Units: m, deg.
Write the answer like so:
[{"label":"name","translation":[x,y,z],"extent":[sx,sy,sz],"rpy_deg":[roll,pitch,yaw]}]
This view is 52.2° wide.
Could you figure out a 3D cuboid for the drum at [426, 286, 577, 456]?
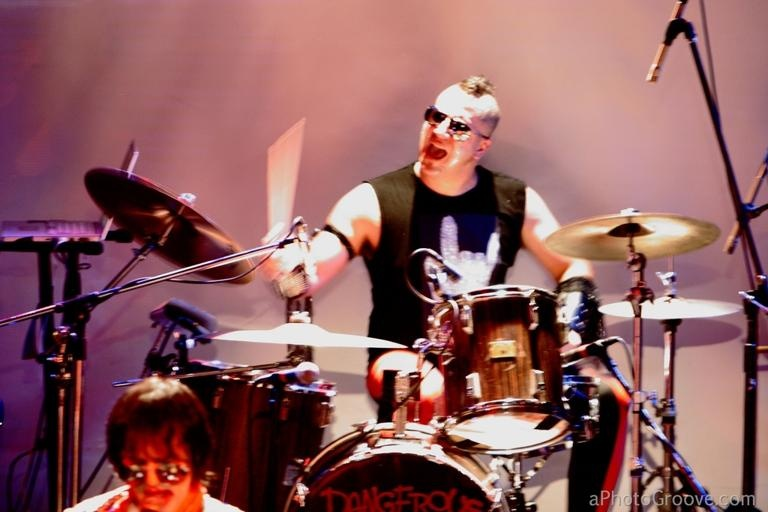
[{"label":"drum","translation":[0.567,0.572,3.579],"extent":[0.640,0.619,0.649],"rpy_deg":[-20,-44,22]}]

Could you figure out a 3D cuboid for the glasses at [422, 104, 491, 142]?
[{"label":"glasses","translation":[0.386,-0.691,4.149],"extent":[0.339,0.174,0.076],"rpy_deg":[1,-9,-1]}]

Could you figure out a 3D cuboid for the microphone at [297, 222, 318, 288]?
[{"label":"microphone","translation":[-0.382,-0.008,3.576],"extent":[0.077,0.312,0.093],"rpy_deg":[-3,13,18]}]

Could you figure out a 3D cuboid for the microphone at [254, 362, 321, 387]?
[{"label":"microphone","translation":[-0.468,0.537,3.601],"extent":[0.346,0.092,0.099],"rpy_deg":[-17,-30,26]}]

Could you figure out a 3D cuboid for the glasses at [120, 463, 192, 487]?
[{"label":"glasses","translation":[-0.817,0.782,2.821],"extent":[0.227,0.078,0.024],"rpy_deg":[1,-9,-4]}]

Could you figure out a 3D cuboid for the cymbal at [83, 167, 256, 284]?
[{"label":"cymbal","translation":[-1.117,-0.194,3.761],"extent":[0.688,0.150,0.674],"rpy_deg":[13,-31,33]}]
